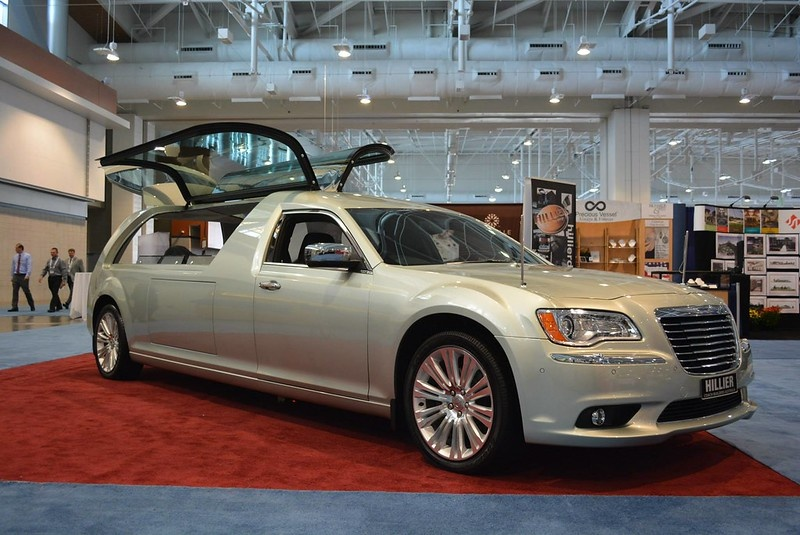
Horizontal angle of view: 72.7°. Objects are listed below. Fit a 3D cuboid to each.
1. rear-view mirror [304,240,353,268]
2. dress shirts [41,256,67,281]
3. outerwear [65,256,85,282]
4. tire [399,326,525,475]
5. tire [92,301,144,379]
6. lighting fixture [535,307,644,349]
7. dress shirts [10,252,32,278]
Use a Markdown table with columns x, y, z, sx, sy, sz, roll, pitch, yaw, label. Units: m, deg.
| x | y | z | sx | sy | sz | roll | pitch | yaw | label |
| --- | --- | --- | --- | --- | --- | --- | --- | --- | --- |
| -0.547 | -0.097 | 3.967 | 0.389 | 0.170 | 0.175 | 2 | 3 | 31 | rear-view mirror |
| -9.744 | -0.003 | 15.302 | 0.747 | 0.637 | 0.387 | 4 | 2 | 12 | dress shirts |
| -8.875 | 0.023 | 14.845 | 0.810 | 0.695 | 0.281 | 1 | -1 | 24 | outerwear |
| 0.424 | 0.854 | 3.516 | 0.760 | 0.755 | 0.248 | -23 | -16 | 25 | tire |
| -2.920 | 0.735 | 5.663 | 0.846 | 0.843 | 0.298 | 1 | -4 | 42 | tire |
| 1.133 | 0.353 | 3.313 | 0.397 | 0.144 | 0.313 | 10 | -1 | -1 | lighting fixture |
| -10.066 | -0.095 | 14.484 | 0.464 | 0.672 | 0.291 | 0 | 3 | -14 | dress shirts |
